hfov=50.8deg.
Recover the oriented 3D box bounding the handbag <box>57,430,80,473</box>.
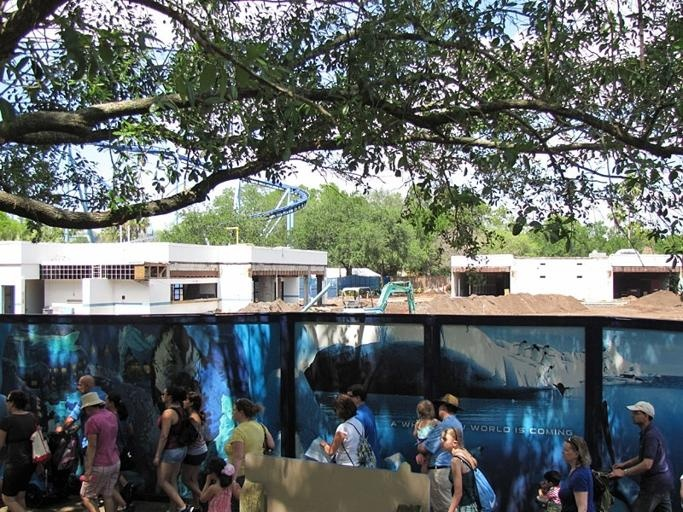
[{"bbox_3d":[-3.991,2.921,10.619,0.291,0.573,0.225,18,3,-35],"label":"handbag"}]

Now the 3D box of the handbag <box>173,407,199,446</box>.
[{"bbox_3d":[-2.129,2.352,9.862,0.294,0.554,0.297,-17,3,9],"label":"handbag"}]

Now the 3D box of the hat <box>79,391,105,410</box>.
[{"bbox_3d":[-3.341,1.948,9.710,0.308,0.180,0.278,-13,1,-42],"label":"hat"}]

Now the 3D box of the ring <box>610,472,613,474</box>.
[{"bbox_3d":[3.446,2.794,9.213,0.025,0.030,0.009,6,5,27],"label":"ring"}]

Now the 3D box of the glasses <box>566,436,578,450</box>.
[{"bbox_3d":[2.591,2.132,8.153,0.099,0.147,0.146,4,37,8],"label":"glasses"}]

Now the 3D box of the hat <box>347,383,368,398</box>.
[{"bbox_3d":[0.212,1.792,9.503,0.208,0.194,0.151,-6,11,-40],"label":"hat"}]

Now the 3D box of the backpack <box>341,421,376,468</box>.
[{"bbox_3d":[0.269,2.365,9.272,0.302,0.691,0.464,-10,30,5],"label":"backpack"}]

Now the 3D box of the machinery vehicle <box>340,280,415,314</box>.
[{"bbox_3d":[2.066,2.514,38.545,3.937,2.144,1.297,-5,11,-12],"label":"machinery vehicle"}]

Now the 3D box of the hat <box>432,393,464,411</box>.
[{"bbox_3d":[1.341,1.877,9.346,0.226,0.141,0.318,27,-8,-27],"label":"hat"}]

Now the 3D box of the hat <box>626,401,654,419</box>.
[{"bbox_3d":[3.755,1.934,9.064,0.273,0.140,0.195,5,-10,14],"label":"hat"}]

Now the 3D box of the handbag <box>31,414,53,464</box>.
[{"bbox_3d":[-4.172,2.595,10.039,0.242,0.692,0.642,-10,-15,-20],"label":"handbag"}]

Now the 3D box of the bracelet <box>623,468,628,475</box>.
[{"bbox_3d":[3.564,2.727,9.039,0.054,0.089,0.085,-1,-14,40],"label":"bracelet"}]
